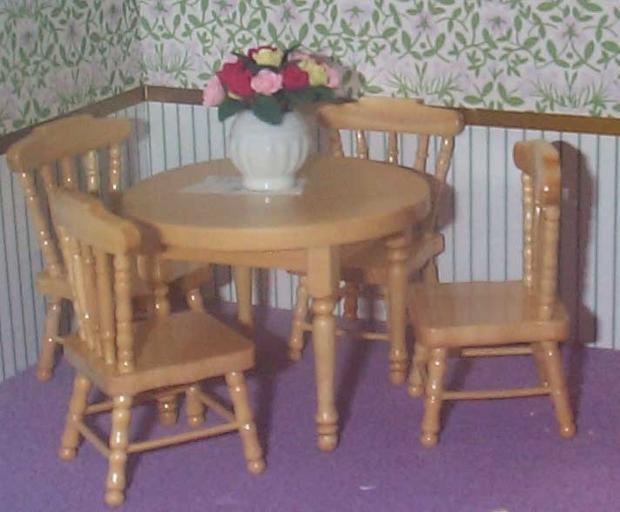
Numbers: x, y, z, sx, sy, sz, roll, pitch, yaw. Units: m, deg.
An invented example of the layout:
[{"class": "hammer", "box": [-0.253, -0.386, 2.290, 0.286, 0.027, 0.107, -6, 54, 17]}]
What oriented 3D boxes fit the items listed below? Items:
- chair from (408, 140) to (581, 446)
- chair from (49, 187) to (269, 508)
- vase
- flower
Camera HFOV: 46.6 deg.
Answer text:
[{"class": "chair", "box": [0.509, 0.080, 2.013, 0.492, 0.803, 0.462, 4, 16, 26]}, {"class": "chair", "box": [-0.523, 0.090, 2.088, 0.638, 1.083, 0.683, -7, 22, -25]}, {"class": "vase", "box": [-0.107, -0.281, 1.998, 0.207, 0.193, 0.215, -1, 2, -11]}, {"class": "flower", "box": [-0.050, -0.469, 2.074, 0.402, 0.218, 0.432, 7, 2, 21]}]
